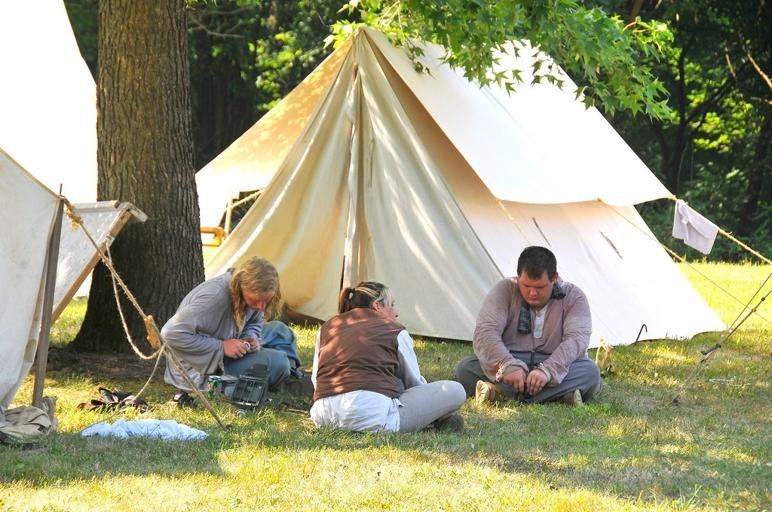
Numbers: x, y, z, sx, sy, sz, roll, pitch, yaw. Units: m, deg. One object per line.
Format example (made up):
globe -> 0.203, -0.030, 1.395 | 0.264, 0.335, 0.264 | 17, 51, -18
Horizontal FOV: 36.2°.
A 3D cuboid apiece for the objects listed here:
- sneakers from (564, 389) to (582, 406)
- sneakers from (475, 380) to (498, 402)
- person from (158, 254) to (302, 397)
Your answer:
sneakers -> 2.024, 1.533, 12.942 | 0.167, 0.163, 0.161 | 3, -12, -38
sneakers -> 1.090, 1.480, 12.935 | 0.238, 0.226, 0.181 | 2, -1, -34
person -> -1.771, 0.739, 13.081 | 1.645, 1.513, 1.168 | -9, 17, -33
